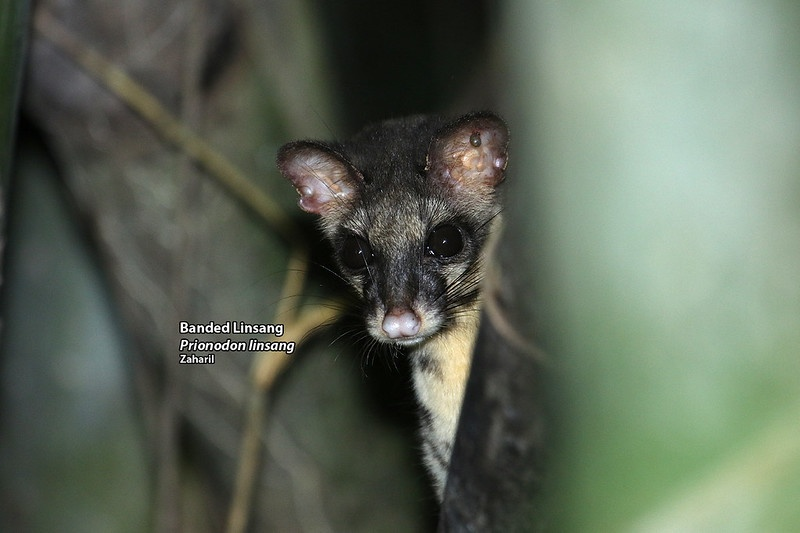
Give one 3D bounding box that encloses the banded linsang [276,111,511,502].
[{"bbox_3d":[0.030,0.018,2.107,0.513,0.838,0.425,18,34,42],"label":"banded linsang"}]
